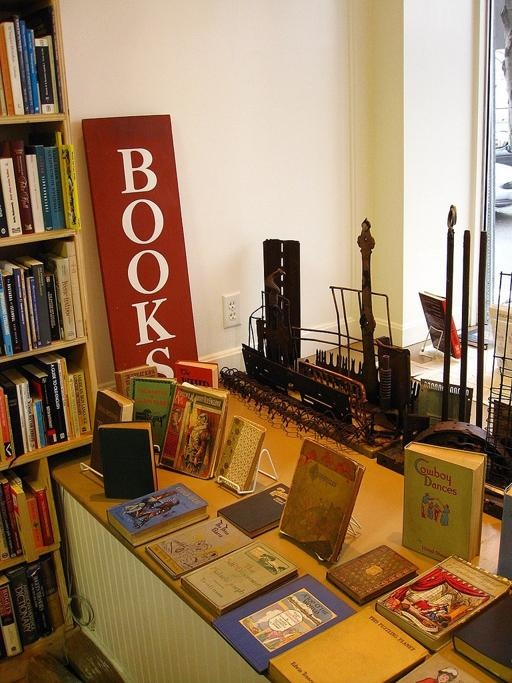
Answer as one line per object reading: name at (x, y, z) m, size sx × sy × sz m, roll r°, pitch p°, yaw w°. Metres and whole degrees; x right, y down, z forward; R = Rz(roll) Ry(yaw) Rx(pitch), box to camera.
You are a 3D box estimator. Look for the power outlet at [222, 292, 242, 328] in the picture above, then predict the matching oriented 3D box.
power outlet at (-0.115, -0.155, 2.498) m, size 0.020 × 0.207 × 0.124 m, roll 14°, pitch 22°, yaw 39°
